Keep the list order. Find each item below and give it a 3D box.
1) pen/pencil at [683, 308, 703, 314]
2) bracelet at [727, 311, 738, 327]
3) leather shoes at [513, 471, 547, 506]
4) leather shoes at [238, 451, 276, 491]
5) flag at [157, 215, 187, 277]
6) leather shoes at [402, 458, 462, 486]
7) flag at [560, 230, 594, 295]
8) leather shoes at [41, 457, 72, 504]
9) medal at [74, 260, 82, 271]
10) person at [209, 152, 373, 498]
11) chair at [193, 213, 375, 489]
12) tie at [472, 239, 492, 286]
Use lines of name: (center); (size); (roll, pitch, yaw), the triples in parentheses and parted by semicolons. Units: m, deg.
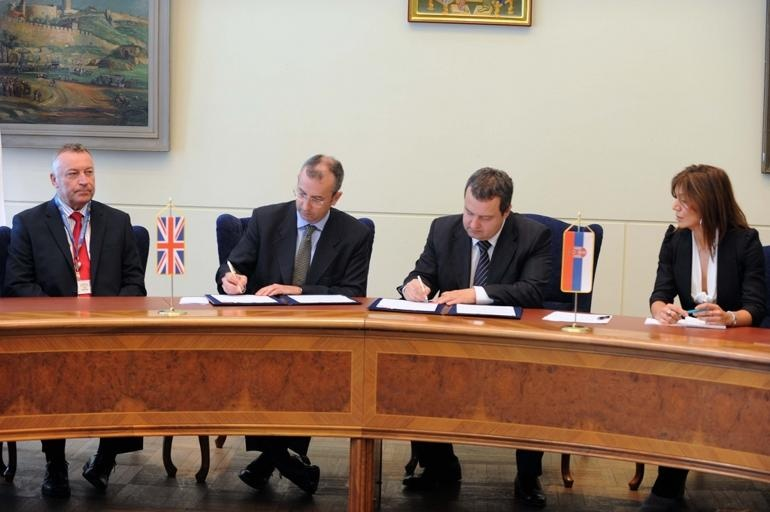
pen/pencil: (1.550, 0.276, 3.469); (0.077, 0.018, 0.026); (-9, -12, 5)
bracelet: (1.717, 0.310, 3.423); (0.056, 0.077, 0.030); (-1, -4, -4)
leather shoes: (0.786, 1.274, 3.785); (0.091, 0.109, 0.241); (2, -9, -14)
leather shoes: (-0.680, 1.169, 3.852); (0.299, 0.128, 0.137); (-5, 14, -26)
flag: (-1.039, -0.051, 3.364); (0.142, 0.288, 0.012); (0, 0, 5)
leather shoes: (0.270, 1.207, 3.961); (0.350, 0.246, 0.138); (2, -2, -10)
flag: (0.915, 0.021, 3.284); (0.208, 0.018, 0.497); (2, 44, 17)
leather shoes: (-1.759, 1.207, 3.722); (0.098, 0.114, 0.281); (3, -9, -17)
medal: (-1.820, 0.061, 4.104); (0.035, 0.052, 0.015); (3, -8, -20)
person: (-0.603, 0.419, 4.178); (0.948, 2.011, 0.882); (5, 0, -31)
chair: (-0.566, 0.205, 4.107); (0.849, 1.384, 0.926); (-9, -22, -10)
tie: (0.576, 0.029, 4.016); (0.105, 0.388, 0.035); (6, 40, 7)
